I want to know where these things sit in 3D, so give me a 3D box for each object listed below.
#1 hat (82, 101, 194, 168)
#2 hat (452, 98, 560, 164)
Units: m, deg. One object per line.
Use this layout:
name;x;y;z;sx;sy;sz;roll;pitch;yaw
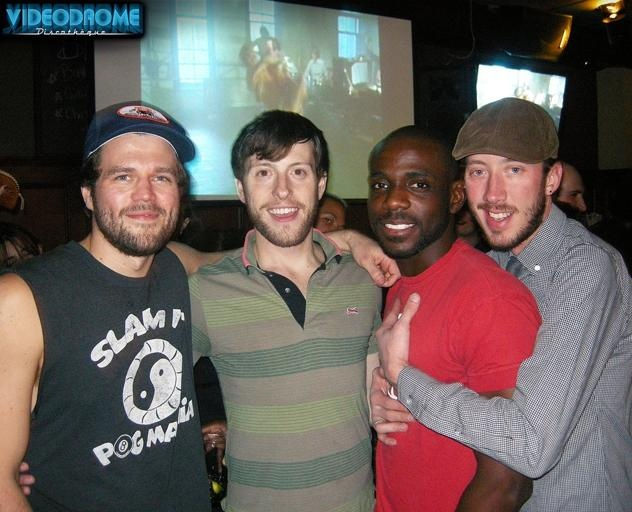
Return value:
hat;-0.842;-0.563;2.535;0.395;0.247;0.499;-7;-10;-46
hat;0.831;-0.570;2.450;0.420;0.240;0.509;8;19;22
